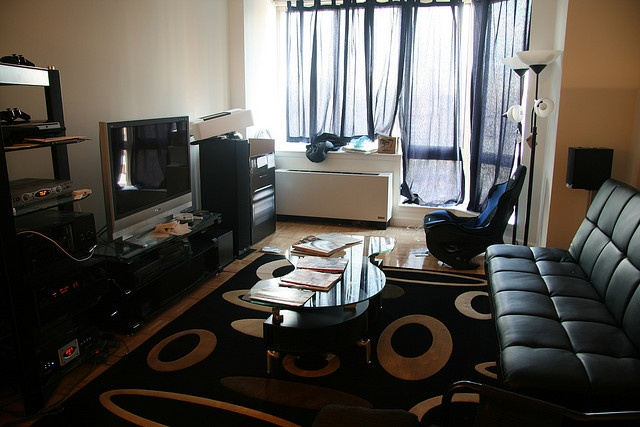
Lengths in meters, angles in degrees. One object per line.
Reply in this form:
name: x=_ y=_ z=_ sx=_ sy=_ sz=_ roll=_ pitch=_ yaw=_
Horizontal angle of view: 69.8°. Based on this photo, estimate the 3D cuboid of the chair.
chair: x=1.530 y=0.005 z=5.340 sx=1.277 sy=1.231 sz=0.916 roll=2 pitch=9 yaw=8

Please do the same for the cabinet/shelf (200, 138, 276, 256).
cabinet/shelf: x=-0.953 y=-0.194 z=5.115 sx=0.426 sy=1.125 sz=1.277 roll=-1 pitch=10 yaw=11

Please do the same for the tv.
tv: x=-1.573 y=-0.275 z=4.049 sx=0.237 sy=0.976 sz=1.139 roll=6 pitch=15 yaw=17

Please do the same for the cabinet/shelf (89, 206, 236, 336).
cabinet/shelf: x=-1.412 y=0.527 z=3.994 sx=0.385 sy=0.454 sz=0.986 roll=5 pitch=20 yaw=16

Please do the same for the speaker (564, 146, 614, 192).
speaker: x=2.625 y=-0.450 z=4.451 sx=0.543 sy=0.549 sz=0.282 roll=0 pitch=12 yaw=14
